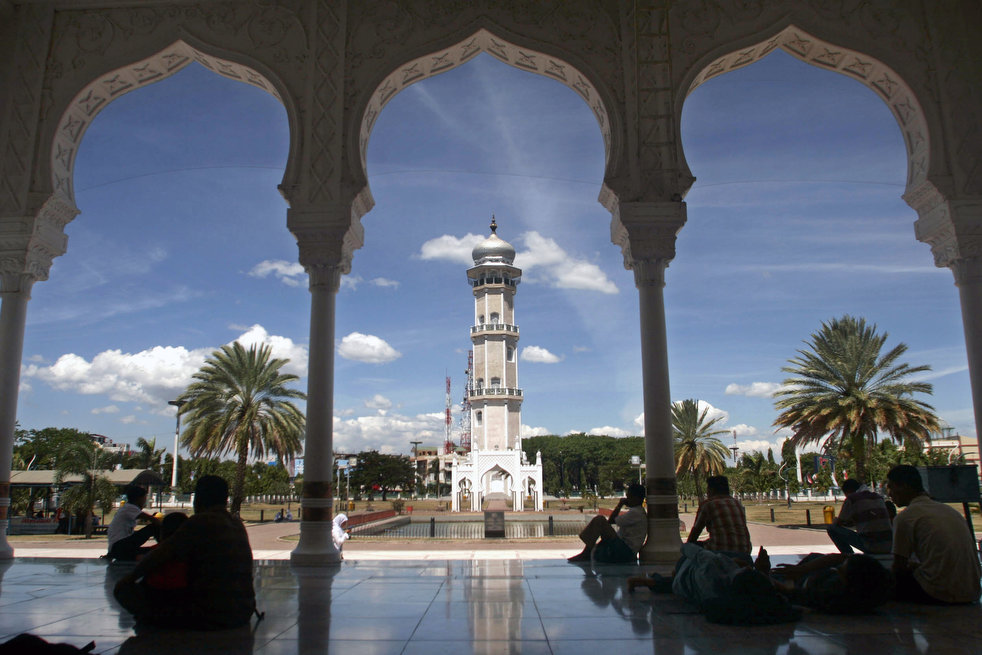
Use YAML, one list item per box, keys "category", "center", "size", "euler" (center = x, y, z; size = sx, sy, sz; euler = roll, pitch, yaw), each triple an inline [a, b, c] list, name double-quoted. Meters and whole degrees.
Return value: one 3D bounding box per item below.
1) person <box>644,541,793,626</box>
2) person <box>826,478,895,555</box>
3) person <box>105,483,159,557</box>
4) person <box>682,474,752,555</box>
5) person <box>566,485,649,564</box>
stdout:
- category: "person"
  center: [2.785, 2.939, 8.850]
  size: [1.312, 0.826, 0.727]
  euler: [-8, -13, 24]
- category: "person"
  center: [5.290, 2.816, 10.858]
  size: [0.807, 1.308, 0.771]
  euler: [-1, -13, -1]
- category: "person"
  center: [-5.151, 2.868, 11.106]
  size: [0.816, 1.096, 0.589]
  euler: [-2, -3, -30]
- category: "person"
  center: [3.031, 2.445, 10.060]
  size: [0.991, 1.234, 1.057]
  euler: [1, -5, 0]
- category: "person"
  center: [1.919, 3.148, 12.342]
  size: [1.323, 1.204, 1.053]
  euler: [-7, -13, 20]
